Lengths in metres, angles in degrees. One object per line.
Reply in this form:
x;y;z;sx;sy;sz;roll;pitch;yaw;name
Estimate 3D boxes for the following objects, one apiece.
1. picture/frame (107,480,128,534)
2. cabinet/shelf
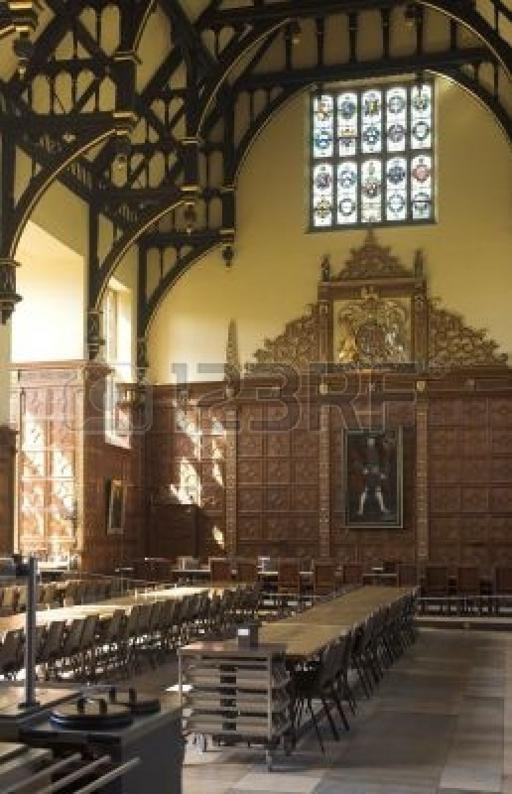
-2.130;1.651;19.830;0.041;0.792;0.661;-3;-7;20;picture/frame
-0.156;1.978;8.416;0.542;0.911;0.836;-2;-6;12;cabinet/shelf
